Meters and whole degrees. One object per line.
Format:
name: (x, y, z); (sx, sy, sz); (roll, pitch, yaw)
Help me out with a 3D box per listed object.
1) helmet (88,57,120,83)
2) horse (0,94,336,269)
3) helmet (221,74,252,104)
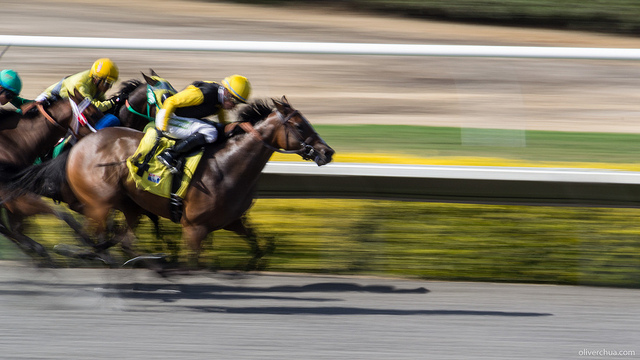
helmet: (-1.843, -0.945, 8.036); (0.346, 0.159, 0.197); (10, 18, 16)
horse: (-1.240, 0.045, 7.796); (2.625, 1.537, 0.532); (3, 13, 1)
helmet: (-0.711, -0.763, 7.793); (0.214, 0.241, 0.186); (14, 15, 43)
